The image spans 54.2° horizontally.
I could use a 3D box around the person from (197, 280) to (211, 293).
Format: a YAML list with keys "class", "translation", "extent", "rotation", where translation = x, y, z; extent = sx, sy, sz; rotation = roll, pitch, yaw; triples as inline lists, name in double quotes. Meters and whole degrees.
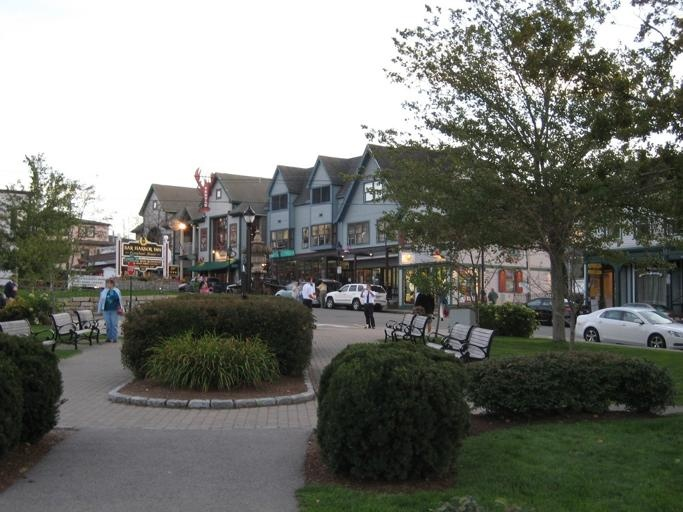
- class: "person"
  translation: [-9.849, 2.169, 47.414]
  extent: [0.673, 1.442, 0.684]
  rotation: [-1, 2, -36]

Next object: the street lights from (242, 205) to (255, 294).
- class: "street lights"
  translation: [-3.533, -0.247, 25.297]
  extent: [0.505, 3.272, 0.537]
  rotation: [-5, 20, -26]

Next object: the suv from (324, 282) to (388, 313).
- class: "suv"
  translation: [0.721, 2.467, 41.471]
  extent: [3.475, 1.568, 1.593]
  rotation: [2, 0, 44]
